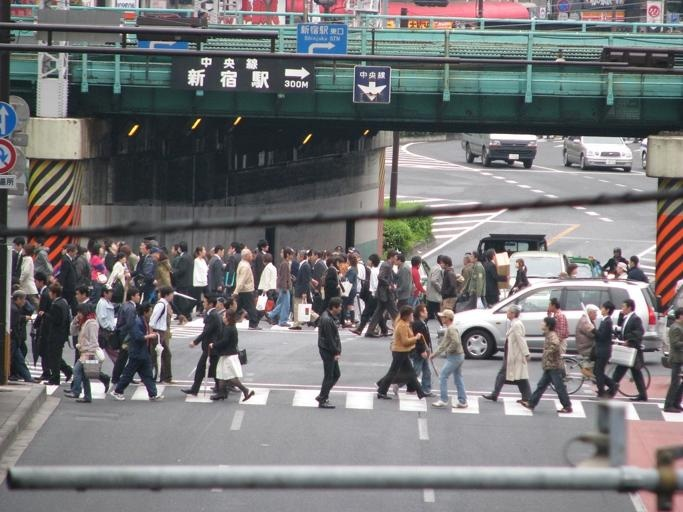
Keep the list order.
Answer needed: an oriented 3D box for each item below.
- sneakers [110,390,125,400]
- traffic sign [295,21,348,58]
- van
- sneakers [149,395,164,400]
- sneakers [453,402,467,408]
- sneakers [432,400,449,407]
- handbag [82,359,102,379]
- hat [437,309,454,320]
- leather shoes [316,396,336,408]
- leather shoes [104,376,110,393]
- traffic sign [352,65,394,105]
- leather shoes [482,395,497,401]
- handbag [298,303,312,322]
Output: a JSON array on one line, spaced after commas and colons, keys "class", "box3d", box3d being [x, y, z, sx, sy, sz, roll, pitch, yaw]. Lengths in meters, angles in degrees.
[{"class": "sneakers", "box3d": [-4.585, 2.743, 25.790, 0.271, 0.216, 0.367, -3, 10, -12]}, {"class": "traffic sign", "box3d": [-0.436, -5.909, 34.491, 1.394, 0.777, 0.619, -1, 9, -3]}, {"class": "van", "box3d": [5.305, 1.412, 30.478, 4.672, 1.919, 2.278, 2, 1, 7]}, {"class": "sneakers", "box3d": [-3.768, 2.789, 25.642, 0.242, 0.120, 0.096, -5, 8, -7]}, {"class": "sneakers", "box3d": [2.544, 2.968, 25.809, 0.288, 0.142, 0.112, 2, 6, 7]}, {"class": "sneakers", "box3d": [2.132, 2.972, 25.986, 0.315, 0.158, 0.124, 4, -5, 10]}, {"class": "handbag", "box3d": [-4.970, 2.153, 25.152, 0.366, 0.519, 0.319, 0, -2, -5]}, {"class": "hat", "box3d": [2.268, 1.157, 25.802, 0.301, 0.180, 0.231, 2, 4, 3]}, {"class": "leather shoes", "box3d": [-0.285, 2.902, 25.696, 0.461, 0.320, 0.167, 0, 4, -6]}, {"class": "leather shoes", "box3d": [-4.820, 2.572, 25.835, 0.111, 0.411, 0.163, 1, 12, -14]}, {"class": "traffic sign", "box3d": [0.961, -4.695, 34.633, 0.931, 1.078, 0.102, 0, 12, 4]}, {"class": "leather shoes", "box3d": [3.224, 2.891, 26.374, 0.283, 0.146, 0.108, 15, 9, 22]}, {"class": "handbag", "box3d": [-0.860, 1.370, 31.833, 0.380, 0.605, 0.374, 1, -1, -1]}]
